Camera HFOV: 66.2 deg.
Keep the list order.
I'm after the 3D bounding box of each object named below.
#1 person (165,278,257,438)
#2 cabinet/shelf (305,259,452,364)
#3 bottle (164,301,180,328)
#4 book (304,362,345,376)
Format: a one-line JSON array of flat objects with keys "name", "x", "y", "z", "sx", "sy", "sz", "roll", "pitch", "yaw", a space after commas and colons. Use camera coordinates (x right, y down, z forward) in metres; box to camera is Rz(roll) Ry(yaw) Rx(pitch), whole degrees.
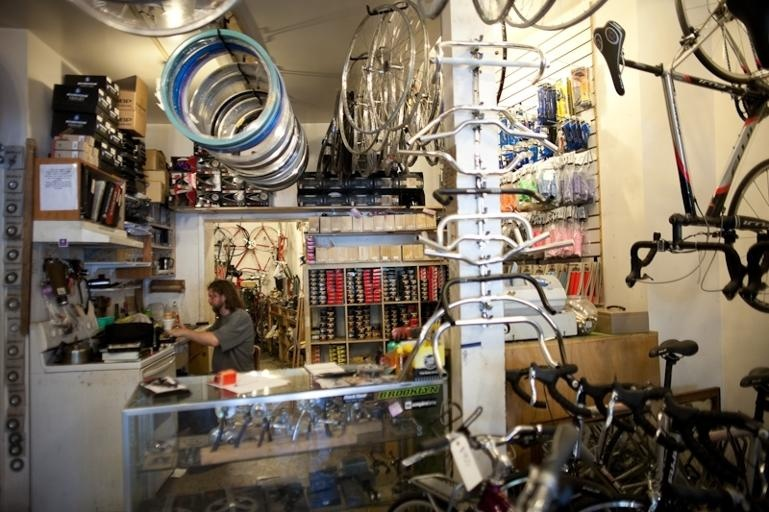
[{"name": "person", "x": -1.611, "y": 0.998, "z": 5.854, "sx": 0.669, "sy": 1.513, "sz": 0.712, "roll": -2, "pitch": 2, "yaw": 2}, {"name": "cabinet/shelf", "x": -0.122, "y": 0.583, "z": 6.735, "sx": 1.361, "sy": 1.276, "sz": 0.413, "roll": 0, "pitch": 4, "yaw": -5}, {"name": "bottle", "x": -2.461, "y": 0.673, "z": 6.823, "sx": 0.217, "sy": 0.334, "sz": 0.330, "roll": 0, "pitch": -6, "yaw": -10}, {"name": "book", "x": -0.470, "y": 0.891, "z": 4.665, "sx": 0.283, "sy": 0.067, "sz": 0.277, "roll": 1, "pitch": 0, "yaw": -12}]
